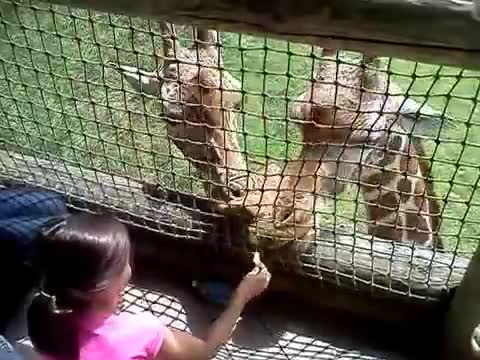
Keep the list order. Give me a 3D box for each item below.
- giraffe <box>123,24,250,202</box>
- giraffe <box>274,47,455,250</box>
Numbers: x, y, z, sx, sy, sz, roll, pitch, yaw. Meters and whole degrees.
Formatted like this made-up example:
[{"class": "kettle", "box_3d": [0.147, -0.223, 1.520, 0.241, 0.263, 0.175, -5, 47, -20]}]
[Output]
[{"class": "giraffe", "box_3d": [-0.177, -0.251, 1.760, 0.553, 0.699, 0.735, 1, 27, -15]}, {"class": "giraffe", "box_3d": [0.567, -0.111, 1.892, 0.305, 0.675, 0.930, 37, -9, 24]}]
